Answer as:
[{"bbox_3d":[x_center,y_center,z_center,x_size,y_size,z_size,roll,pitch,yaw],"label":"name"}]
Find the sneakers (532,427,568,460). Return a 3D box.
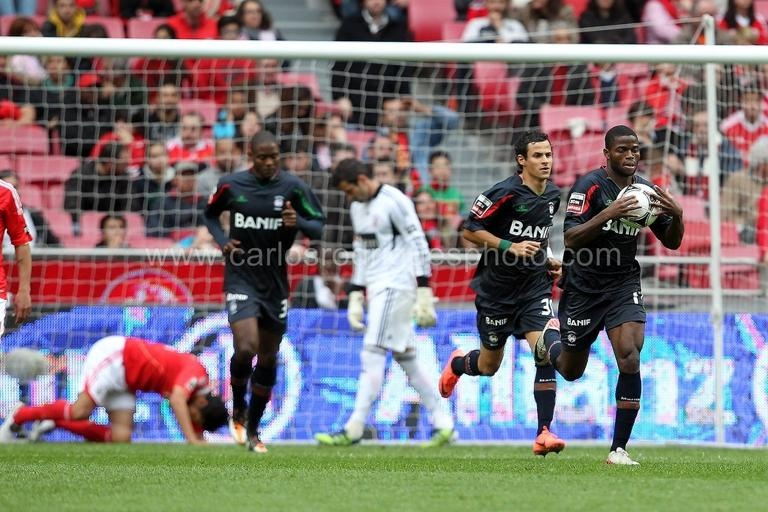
[{"bbox_3d":[1.461,1.710,8.481,0.235,0.154,0.418,-38,4,-25],"label":"sneakers"}]

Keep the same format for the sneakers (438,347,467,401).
[{"bbox_3d":[0.662,1.286,9.817,0.198,0.600,0.260,16,18,-13],"label":"sneakers"}]

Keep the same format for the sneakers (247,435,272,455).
[{"bbox_3d":[-1.234,1.851,9.164,0.105,0.133,0.307,0,-2,-29],"label":"sneakers"}]

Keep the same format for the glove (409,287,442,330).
[{"bbox_3d":[0.426,0.558,10.105,0.367,0.646,0.409,1,-3,-3],"label":"glove"}]

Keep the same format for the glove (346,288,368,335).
[{"bbox_3d":[-0.310,0.597,10.164,0.120,0.380,0.284,6,-18,-4],"label":"glove"}]

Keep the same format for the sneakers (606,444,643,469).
[{"bbox_3d":[2.082,1.756,8.158,0.336,0.159,0.120,1,0,12],"label":"sneakers"}]

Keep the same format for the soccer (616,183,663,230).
[{"bbox_3d":[2.185,-0.429,7.945,0.348,0.368,0.359,18,-6,-36],"label":"soccer"}]

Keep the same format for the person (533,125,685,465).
[{"bbox_3d":[1.981,0.353,8.145,1.112,2.958,0.723,2,4,11],"label":"person"}]

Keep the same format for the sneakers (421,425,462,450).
[{"bbox_3d":[0.622,1.924,10.013,0.482,0.224,0.166,-17,0,6],"label":"sneakers"}]

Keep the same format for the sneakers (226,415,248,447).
[{"bbox_3d":[-1.471,1.703,9.411,0.147,0.159,0.402,1,47,-40],"label":"sneakers"}]

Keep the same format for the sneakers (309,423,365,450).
[{"bbox_3d":[-0.500,1.919,9.845,0.558,0.245,0.201,3,-7,-5],"label":"sneakers"}]

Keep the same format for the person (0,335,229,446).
[{"bbox_3d":[-2.590,1.521,10.251,2.577,1.364,1.040,-2,-17,8],"label":"person"}]

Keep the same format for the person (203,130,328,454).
[{"bbox_3d":[-1.205,0.356,9.077,1.101,3.114,0.600,1,4,-11],"label":"person"}]

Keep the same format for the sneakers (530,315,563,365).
[{"bbox_3d":[1.505,0.799,8.603,0.158,0.213,0.484,6,15,9],"label":"sneakers"}]
